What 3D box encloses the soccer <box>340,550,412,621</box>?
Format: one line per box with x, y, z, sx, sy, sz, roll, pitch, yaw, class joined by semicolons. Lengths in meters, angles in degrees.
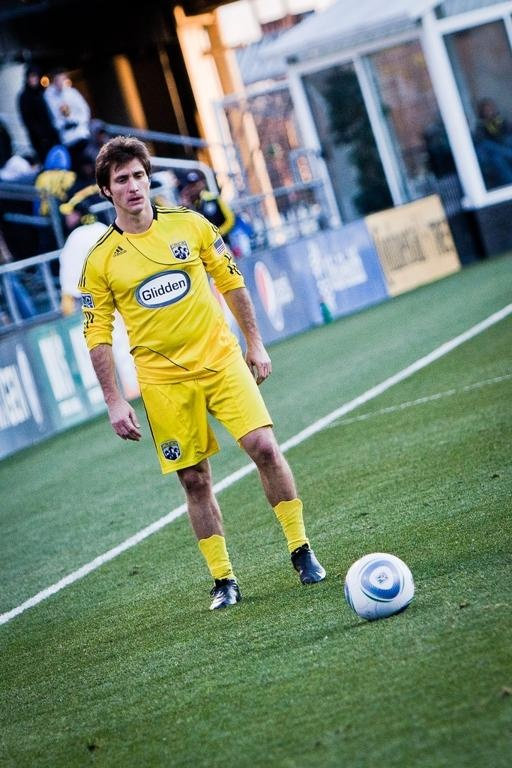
0.333;0.577;2.220;0.204;0.170;0.190;-4;6;-4;soccer

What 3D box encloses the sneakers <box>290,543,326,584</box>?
0.182;0.652;2.696;0.095;0.135;0.156;-24;5;-2;sneakers

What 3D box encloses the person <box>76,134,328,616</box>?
-0.264;-0.066;2.811;0.681;1.829;0.487;-25;5;-1;person
